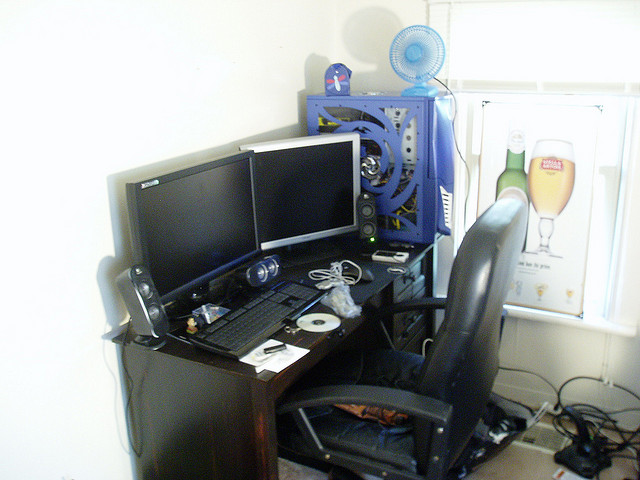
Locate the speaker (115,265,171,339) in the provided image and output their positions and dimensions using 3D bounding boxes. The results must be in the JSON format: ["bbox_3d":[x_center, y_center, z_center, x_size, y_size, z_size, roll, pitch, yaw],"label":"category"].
[{"bbox_3d":[-0.642,0.235,1.960,0.097,0.286,0.083,-9,16,25],"label":"speaker"}]

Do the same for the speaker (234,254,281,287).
[{"bbox_3d":[-0.252,0.106,2.343,0.180,0.121,0.194,11,18,25],"label":"speaker"}]

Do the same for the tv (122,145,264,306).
[{"bbox_3d":[-0.501,-0.076,2.214,0.182,0.480,0.528,16,30,40],"label":"tv"}]

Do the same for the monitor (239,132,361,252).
[{"bbox_3d":[-0.105,-0.230,2.532,0.463,0.422,0.194,-15,20,-29],"label":"monitor"}]
